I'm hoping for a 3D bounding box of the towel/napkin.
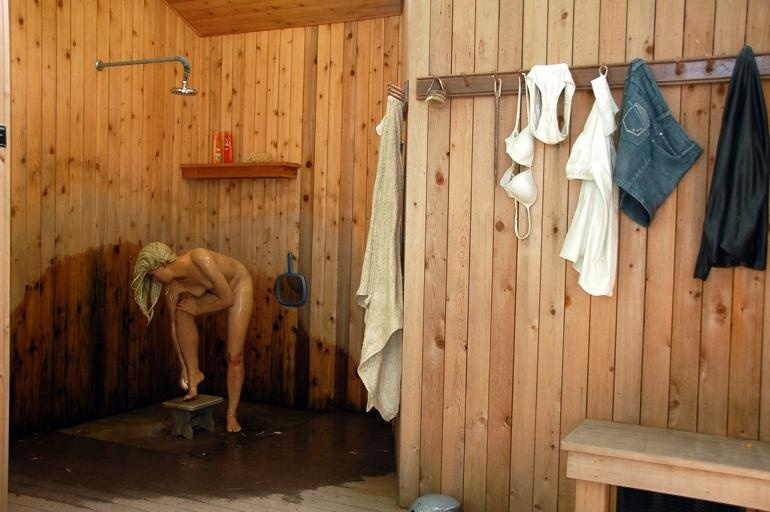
[{"bbox_3d":[-0.034,-0.022,5.125,0.302,2.260,0.350,1,6,-2],"label":"towel/napkin"}]

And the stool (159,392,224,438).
[{"bbox_3d":[-1.628,1.293,6.157,0.265,0.224,0.395,1,2,20],"label":"stool"}]

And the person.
[{"bbox_3d":[-1.627,0.650,6.346,0.955,1.550,0.467,2,7,6],"label":"person"}]

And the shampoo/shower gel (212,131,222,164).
[{"bbox_3d":[-1.593,-1.039,7.097,0.076,0.287,0.138,0,7,-12],"label":"shampoo/shower gel"}]

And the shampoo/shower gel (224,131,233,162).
[{"bbox_3d":[-1.493,-1.042,7.074,0.098,0.288,0.150,0,7,-11],"label":"shampoo/shower gel"}]

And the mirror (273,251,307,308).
[{"bbox_3d":[-0.865,0.233,6.824,0.310,0.523,0.408,0,8,-9],"label":"mirror"}]
